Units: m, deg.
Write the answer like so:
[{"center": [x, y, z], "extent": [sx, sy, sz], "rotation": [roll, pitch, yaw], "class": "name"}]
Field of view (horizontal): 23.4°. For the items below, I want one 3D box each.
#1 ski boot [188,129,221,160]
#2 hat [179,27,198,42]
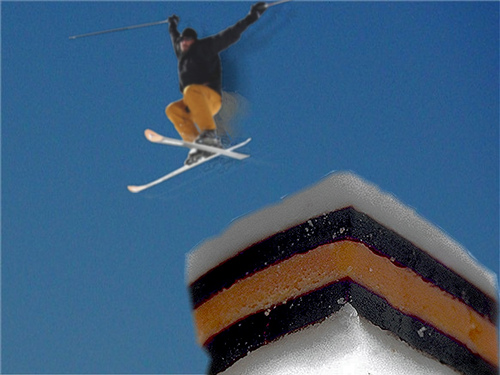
[{"center": [-0.230, -0.215, 6.317], "extent": [0.113, 0.122, 0.160], "rotation": [35, -52, -18], "class": "ski boot"}, {"center": [-0.318, -0.798, 6.314], "extent": [0.078, 0.059, 0.056], "rotation": [18, -45, -16], "class": "hat"}]
